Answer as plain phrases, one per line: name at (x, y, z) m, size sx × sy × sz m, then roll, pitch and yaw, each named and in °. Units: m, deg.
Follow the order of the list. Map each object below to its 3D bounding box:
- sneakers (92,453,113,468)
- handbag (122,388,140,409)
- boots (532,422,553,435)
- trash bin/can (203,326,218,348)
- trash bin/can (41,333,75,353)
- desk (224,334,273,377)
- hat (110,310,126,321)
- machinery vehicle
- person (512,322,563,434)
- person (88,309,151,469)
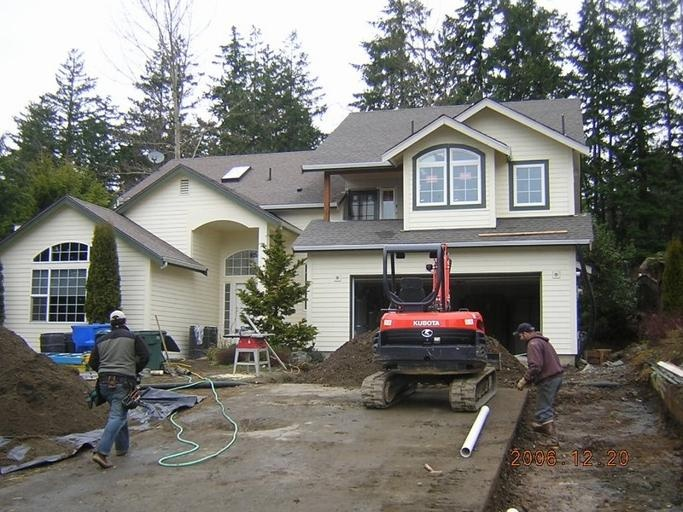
sneakers at (-3.653, 3.106, 9.373) m, size 0.309 × 0.207 × 0.112 m, roll 38°, pitch -6°, yaw -40°
handbag at (-3.264, 2.243, 9.705) m, size 0.321 × 0.227 × 0.115 m, roll -42°, pitch -13°, yaw -13°
boots at (3.506, 2.952, 10.677) m, size 0.362 × 0.167 × 0.273 m, roll -1°, pitch 3°, yaw 0°
trash bin/can at (-4.957, 3.028, 23.162) m, size 0.368 × 0.636 × 0.674 m, roll -3°, pitch -9°, yaw 11°
trash bin/can at (-8.565, 2.577, 18.439) m, size 0.696 × 0.728 × 0.794 m, roll -1°, pitch 1°, yaw -18°
desk at (-2.515, 2.721, 17.160) m, size 1.468 × 1.161 × 1.395 m, roll 0°, pitch -9°, yaw -23°
hat at (-3.768, 0.982, 10.365) m, size 0.256 × 0.176 × 0.369 m, roll -1°, pitch 2°, yaw -10°
machinery vehicle at (2.023, 1.349, 13.249) m, size 2.522 × 3.266 × 3.537 m, roll -2°, pitch -5°, yaw 23°
person at (3.468, 2.137, 10.818) m, size 0.722 × 1.779 × 0.635 m, roll -1°, pitch 4°, yaw 17°
person at (-3.593, 2.096, 9.767) m, size 0.824 × 2.318 × 1.219 m, roll -1°, pitch 3°, yaw 4°
